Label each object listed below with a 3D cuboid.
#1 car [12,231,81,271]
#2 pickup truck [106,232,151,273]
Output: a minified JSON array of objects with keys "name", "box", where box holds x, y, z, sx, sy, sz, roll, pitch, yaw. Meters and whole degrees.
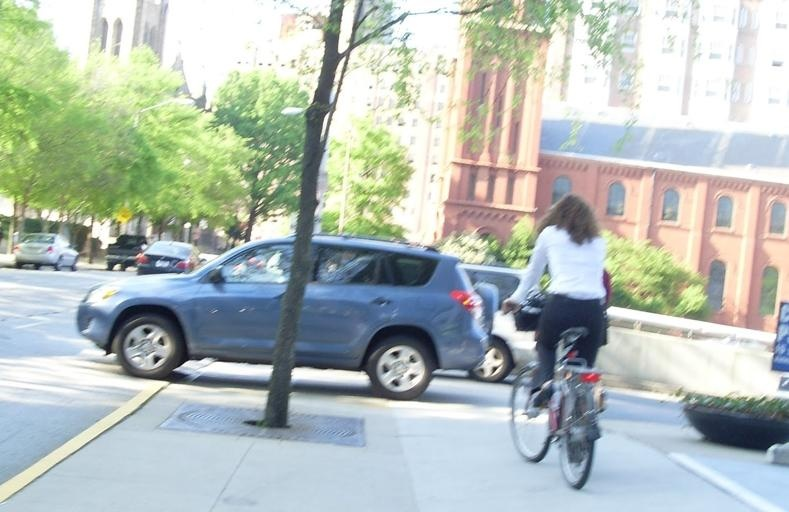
[{"name":"car","box":[-16.896,-0.145,33.442,1.591,1.787,2.708,5,3,5]},{"name":"pickup truck","box":[-15.669,-0.245,40.589,3.263,1.748,1.976,4,4,29]}]
